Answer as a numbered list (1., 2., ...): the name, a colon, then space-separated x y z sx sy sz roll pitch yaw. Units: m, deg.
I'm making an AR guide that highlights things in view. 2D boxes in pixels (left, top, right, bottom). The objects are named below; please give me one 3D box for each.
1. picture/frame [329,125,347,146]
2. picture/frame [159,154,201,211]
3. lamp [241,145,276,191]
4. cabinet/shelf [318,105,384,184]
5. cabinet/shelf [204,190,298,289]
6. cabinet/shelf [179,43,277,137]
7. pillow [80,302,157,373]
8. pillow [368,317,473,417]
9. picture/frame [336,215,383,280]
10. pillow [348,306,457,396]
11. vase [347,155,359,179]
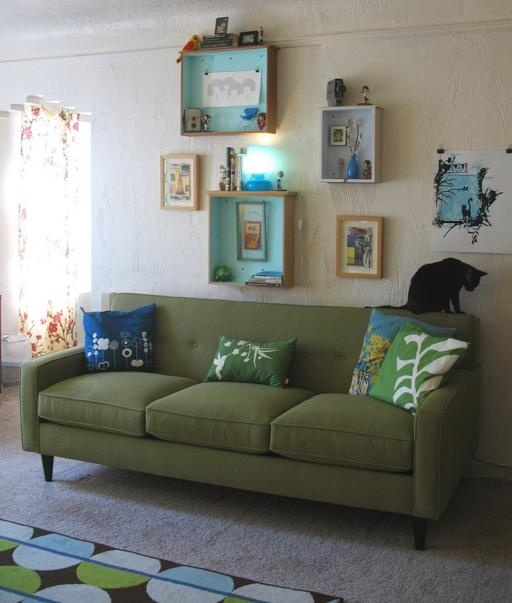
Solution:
1. picture/frame: 0.441 -0.890 3.041 0.113 0.125 0.014 6 12 33
2. picture/frame: -0.457 -0.740 3.504 0.347 0.401 0.055 3 9 26
3. lamp: -0.005 -0.749 3.226 0.199 0.293 0.173 1 1 16
4. cabinet/shelf: 0.507 -0.833 2.984 0.433 0.479 0.184 2 4 30
5. cabinet/shelf: -0.011 -0.368 3.309 0.590 0.533 0.154 2 3 25
6. cabinet/shelf: -0.143 -1.223 3.283 0.562 0.426 0.178 5 12 25
7. pillow: -0.735 0.212 3.106 0.380 0.365 0.144 0 -20 -13
8. pillow: 0.701 0.295 2.355 0.104 0.338 0.343 32 -3 -20
9. picture/frame: 0.565 -0.301 3.057 0.351 0.447 0.035 2 4 30
10. pillow: 0.693 0.292 2.714 0.124 0.383 0.415 28 -8 -33
11. vase: 0.507 -0.703 2.976 0.062 0.151 0.079 1 1 9
